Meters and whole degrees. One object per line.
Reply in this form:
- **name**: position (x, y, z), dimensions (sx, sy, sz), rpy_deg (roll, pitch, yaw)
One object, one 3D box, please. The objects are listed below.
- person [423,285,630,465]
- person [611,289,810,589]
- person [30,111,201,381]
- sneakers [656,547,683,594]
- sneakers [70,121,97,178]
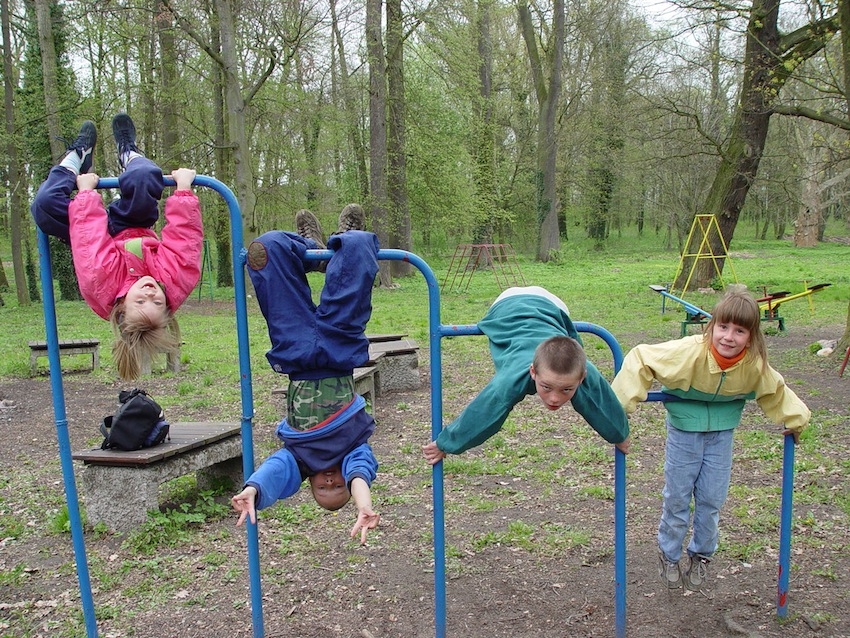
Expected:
- **person**: position (0.802, 0.359, 7.199), dimensions (1.172, 0.877, 1.535), rpy_deg (-3, 32, -1)
- **person**: position (2.257, 0.991, 7.252), dimensions (1.475, 2.524, 0.357), rpy_deg (1, 9, -1)
- **person**: position (-2.323, -0.610, 7.037), dimensions (1.014, 2.098, 0.754), rpy_deg (-5, -2, -25)
- **sneakers**: position (2.045, 2.135, 7.471), dimensions (0.130, 0.393, 0.155), rpy_deg (-6, -30, 8)
- **sneakers**: position (-2.795, -1.415, 7.323), dimensions (0.170, 0.489, 0.195), rpy_deg (10, 8, 27)
